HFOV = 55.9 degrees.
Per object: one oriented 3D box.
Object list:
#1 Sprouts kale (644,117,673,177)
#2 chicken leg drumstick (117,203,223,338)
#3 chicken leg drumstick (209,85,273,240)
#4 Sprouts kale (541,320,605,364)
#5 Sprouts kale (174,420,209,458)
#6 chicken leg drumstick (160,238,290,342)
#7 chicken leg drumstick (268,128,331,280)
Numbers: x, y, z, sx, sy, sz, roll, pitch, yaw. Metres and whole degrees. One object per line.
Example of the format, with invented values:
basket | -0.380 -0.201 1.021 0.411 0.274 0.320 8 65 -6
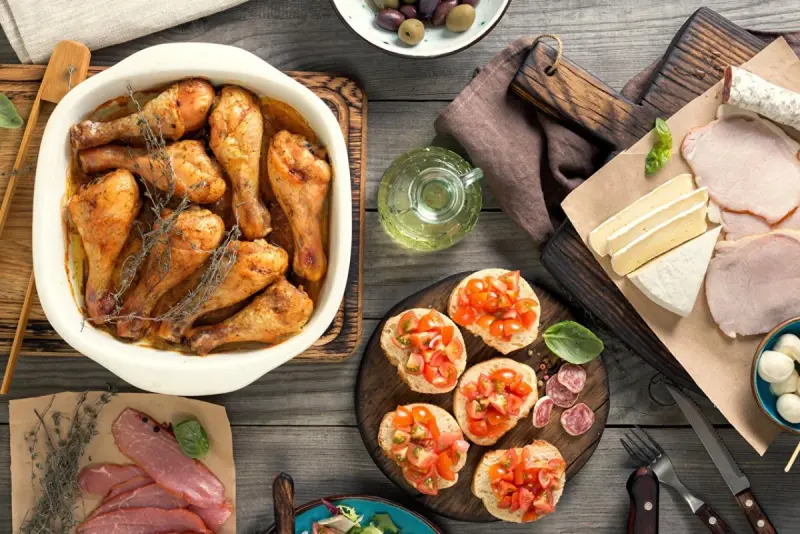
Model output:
Sprouts kale | 1.182 -0.535 3.420 0.118 0.087 0.241 14 78 -1
chicken leg drumstick | -0.985 -0.002 3.340 0.301 0.219 0.739 31 96 -8
chicken leg drumstick | -0.664 -0.444 3.172 0.235 0.155 0.620 -7 103 -8
Sprouts kale | 0.802 0.350 3.475 0.251 0.047 0.177 10 96 9
Sprouts kale | -0.984 0.814 3.547 0.028 0.203 0.148 -1 37 23
chicken leg drumstick | -0.753 0.097 3.258 0.220 0.267 0.445 15 36 24
chicken leg drumstick | -0.421 -0.284 3.172 0.275 0.150 0.661 -5 101 -6
